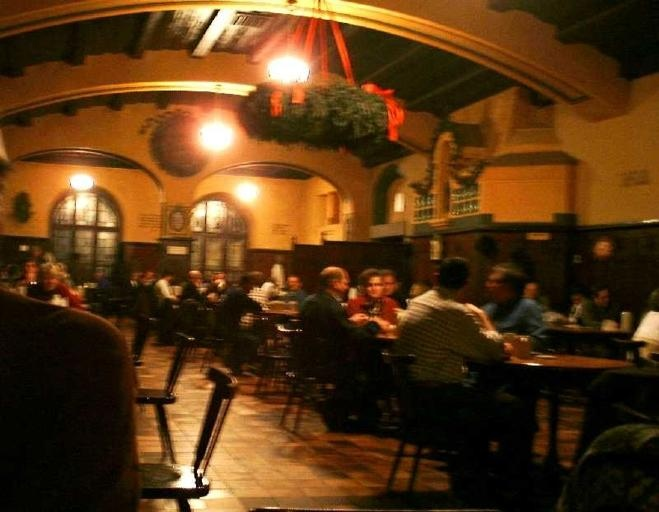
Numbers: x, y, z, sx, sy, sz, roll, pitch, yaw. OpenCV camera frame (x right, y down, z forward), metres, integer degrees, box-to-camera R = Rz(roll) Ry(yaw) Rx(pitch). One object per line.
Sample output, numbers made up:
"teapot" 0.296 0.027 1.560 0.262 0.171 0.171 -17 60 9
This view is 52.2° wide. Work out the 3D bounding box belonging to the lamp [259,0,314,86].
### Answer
"lamp" -0.352 -1.757 5.846 0.365 0.693 1.106 3 -1 -3
